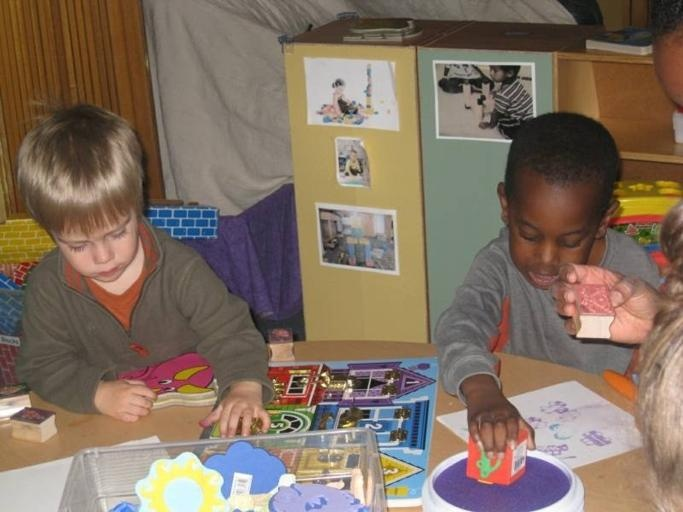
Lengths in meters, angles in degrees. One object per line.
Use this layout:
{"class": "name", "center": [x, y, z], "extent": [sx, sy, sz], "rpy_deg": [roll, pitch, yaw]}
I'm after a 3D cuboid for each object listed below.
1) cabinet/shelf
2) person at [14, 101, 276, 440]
{"class": "cabinet/shelf", "center": [0.485, -0.297, 2.193], "extent": [1.310, 1.195, 0.420], "rpy_deg": [4, 30, 19]}
{"class": "person", "center": [-0.607, 0.021, 2.001], "extent": [0.670, 0.936, 0.823], "rpy_deg": [-24, 56, -21]}
